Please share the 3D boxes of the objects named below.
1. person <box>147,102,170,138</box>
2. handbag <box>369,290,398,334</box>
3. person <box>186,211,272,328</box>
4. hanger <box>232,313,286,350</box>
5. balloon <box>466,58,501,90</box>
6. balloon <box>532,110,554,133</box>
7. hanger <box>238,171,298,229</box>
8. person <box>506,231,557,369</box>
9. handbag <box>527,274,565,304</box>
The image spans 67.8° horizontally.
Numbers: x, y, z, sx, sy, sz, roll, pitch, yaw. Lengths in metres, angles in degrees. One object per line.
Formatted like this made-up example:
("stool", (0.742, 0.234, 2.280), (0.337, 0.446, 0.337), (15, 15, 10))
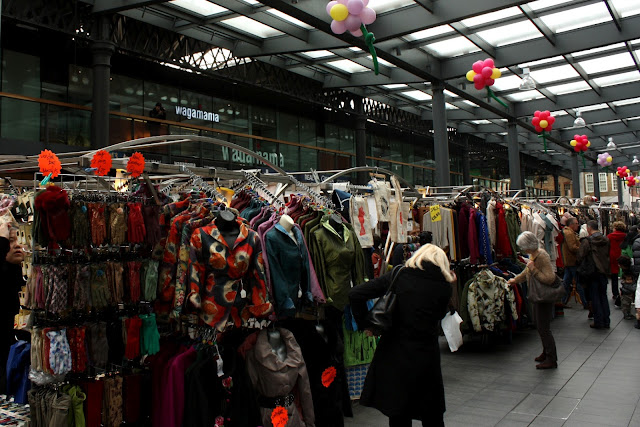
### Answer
("person", (-5.619, -3.247, 16.536), (0.766, 1.201, 0.383), (-2, 0, -35))
("handbag", (0.696, 1.092, 5.171), (0.157, 0.341, 0.344), (18, -21, 11))
("person", (-0.987, 0.616, 5.202), (0.879, 1.279, 0.266), (-2, 0, -18))
("hanger", (-0.672, 1.400, 5.537), (0.169, 0.464, 0.349), (35, 11, -45))
("balloon", (3.886, -3.342, 11.326), (0.659, 0.732, 0.811), (-1, 1, 11))
("balloon", (6.929, -2.857, 14.838), (0.525, 0.669, 1.128), (-1, 1, 22))
("hanger", (-0.665, -0.164, 6.005), (0.924, 0.243, 0.306), (48, 17, 18))
("person", (3.715, 1.476, 8.173), (0.725, 2.268, 1.011), (-1, 0, 22))
("handbag", (3.705, 1.288, 7.849), (0.511, 0.528, 0.354), (-2, -2, 12))
